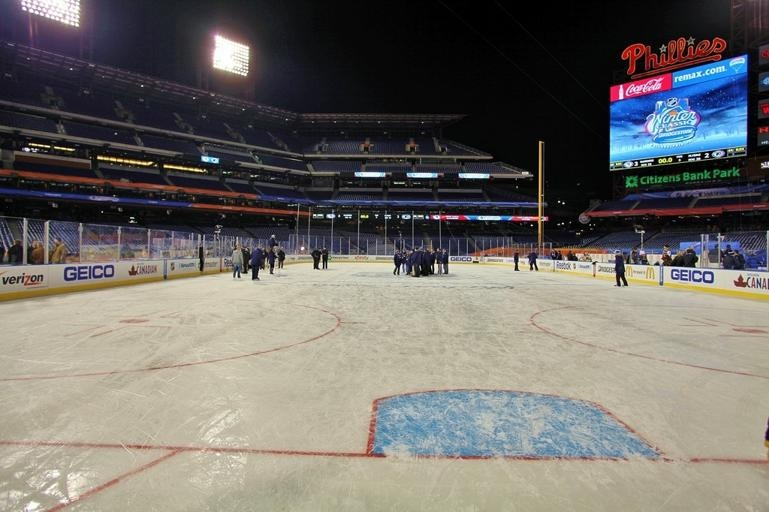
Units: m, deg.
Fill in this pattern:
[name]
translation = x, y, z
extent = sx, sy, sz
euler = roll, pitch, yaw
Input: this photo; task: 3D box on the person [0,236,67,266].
[person]
translation = -15.698, -0.184, 24.175
extent = 0.360, 1.122, 2.664
euler = 4, 6, 25
